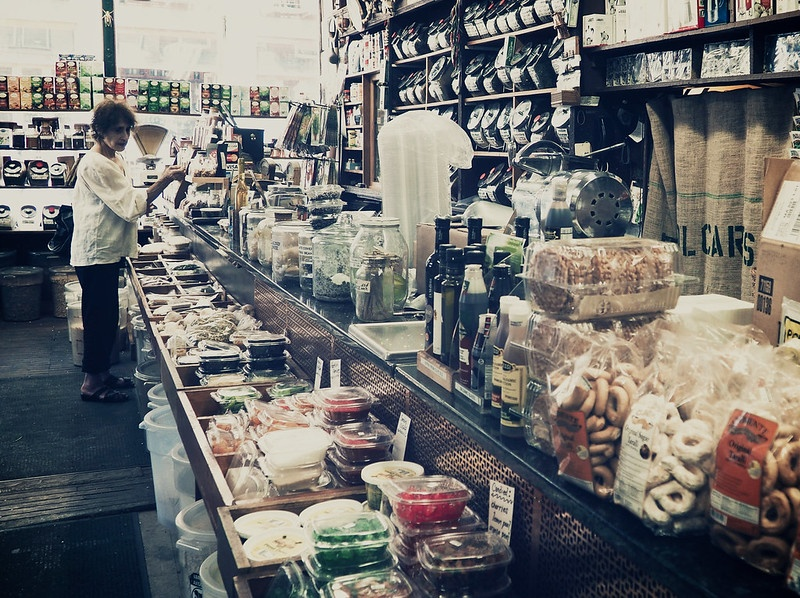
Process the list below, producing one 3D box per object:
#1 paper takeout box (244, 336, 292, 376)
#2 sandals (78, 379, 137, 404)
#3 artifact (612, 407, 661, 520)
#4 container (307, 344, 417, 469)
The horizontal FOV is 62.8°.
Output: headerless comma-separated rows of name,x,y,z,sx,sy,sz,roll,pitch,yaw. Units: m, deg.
paper takeout box,-0.583,0.250,2.879,0.184,0.160,0.151,-1,6,-16
sandals,-2.301,0.720,5.135,0.286,0.100,0.216,1,14,0
artifact,0.435,0.287,1.194,0.061,0.190,0.071,-9,15,-39
container,-0.143,0.361,2.100,0.163,0.116,0.321,-10,29,-21
